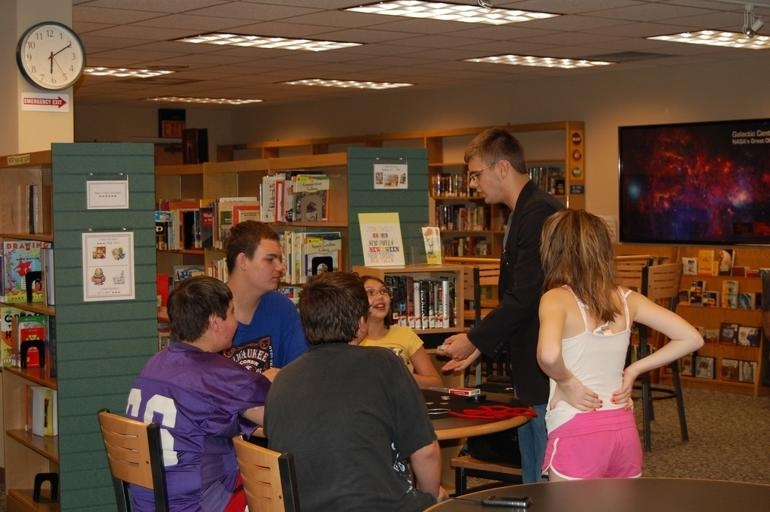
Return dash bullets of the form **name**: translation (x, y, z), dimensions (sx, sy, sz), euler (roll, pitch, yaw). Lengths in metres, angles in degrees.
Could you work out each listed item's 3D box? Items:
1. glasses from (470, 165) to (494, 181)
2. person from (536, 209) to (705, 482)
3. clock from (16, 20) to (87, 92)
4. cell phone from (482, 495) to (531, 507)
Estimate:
- **glasses**: translation (0.603, -0.506, 4.044), dimensions (0.099, 0.029, 0.094), euler (-25, -1, -13)
- **person**: translation (1.050, 0.400, 3.069), dimensions (0.678, 1.253, 0.335), euler (-2, -2, 7)
- **clock**: translation (-3.119, -1.846, 6.153), dimensions (0.162, 0.561, 0.595), euler (18, 22, 32)
- **cell phone**: translation (0.480, 0.969, 2.603), dimensions (0.128, 0.021, 0.069), euler (-2, -3, 14)
